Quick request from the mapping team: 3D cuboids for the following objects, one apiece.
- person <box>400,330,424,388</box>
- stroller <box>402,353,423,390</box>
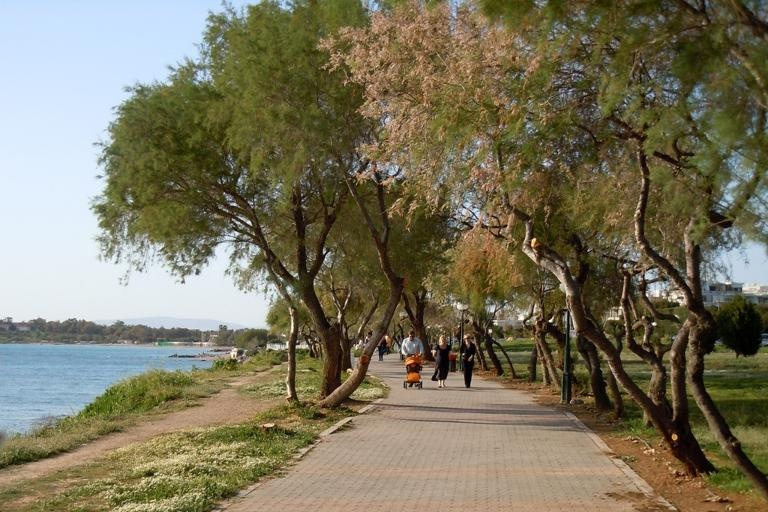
[{"bbox_3d":[1.251,4.359,26.285,0.992,2.365,1.009,-2,-1,39],"label":"person"},{"bbox_3d":[1.328,5.041,26.944,0.734,1.434,1.086,0,-8,19],"label":"stroller"}]
